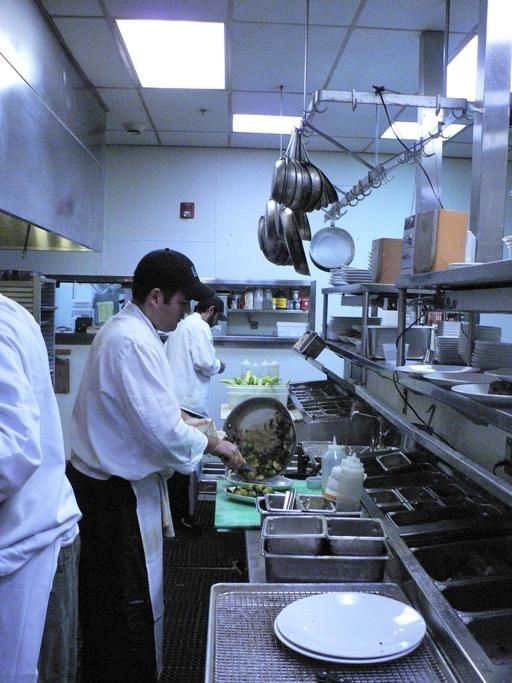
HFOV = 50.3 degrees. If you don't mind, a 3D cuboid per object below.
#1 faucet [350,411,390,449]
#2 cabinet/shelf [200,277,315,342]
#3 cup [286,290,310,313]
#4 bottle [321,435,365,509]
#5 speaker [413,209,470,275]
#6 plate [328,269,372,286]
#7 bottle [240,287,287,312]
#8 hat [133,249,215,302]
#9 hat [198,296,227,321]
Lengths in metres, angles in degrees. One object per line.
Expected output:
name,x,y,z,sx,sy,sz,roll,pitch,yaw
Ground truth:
faucet,0.607,0.477,2.952,0.206,0.199,0.155,0,1,1
cabinet/shelf,0.011,-0.280,5.384,1.115,0.644,0.324,2,2,0
cup,0.420,-0.392,5.416,0.213,0.193,0.214,2,4,0
bottle,0.292,0.462,1.898,0.158,0.265,0.156,2,-2,0
speaker,0.542,-0.289,1.644,0.169,0.185,0.167,1,3,13
plate,0.499,-0.311,2.729,0.142,0.056,0.138,1,2,-2
bottle,0.092,-0.408,5.277,0.445,0.226,0.211,0,6,-1
hat,-0.274,-0.225,1.841,0.300,0.171,0.202,1,9,-6
hat,-0.315,-0.257,4.228,0.268,0.154,0.185,11,7,-27
